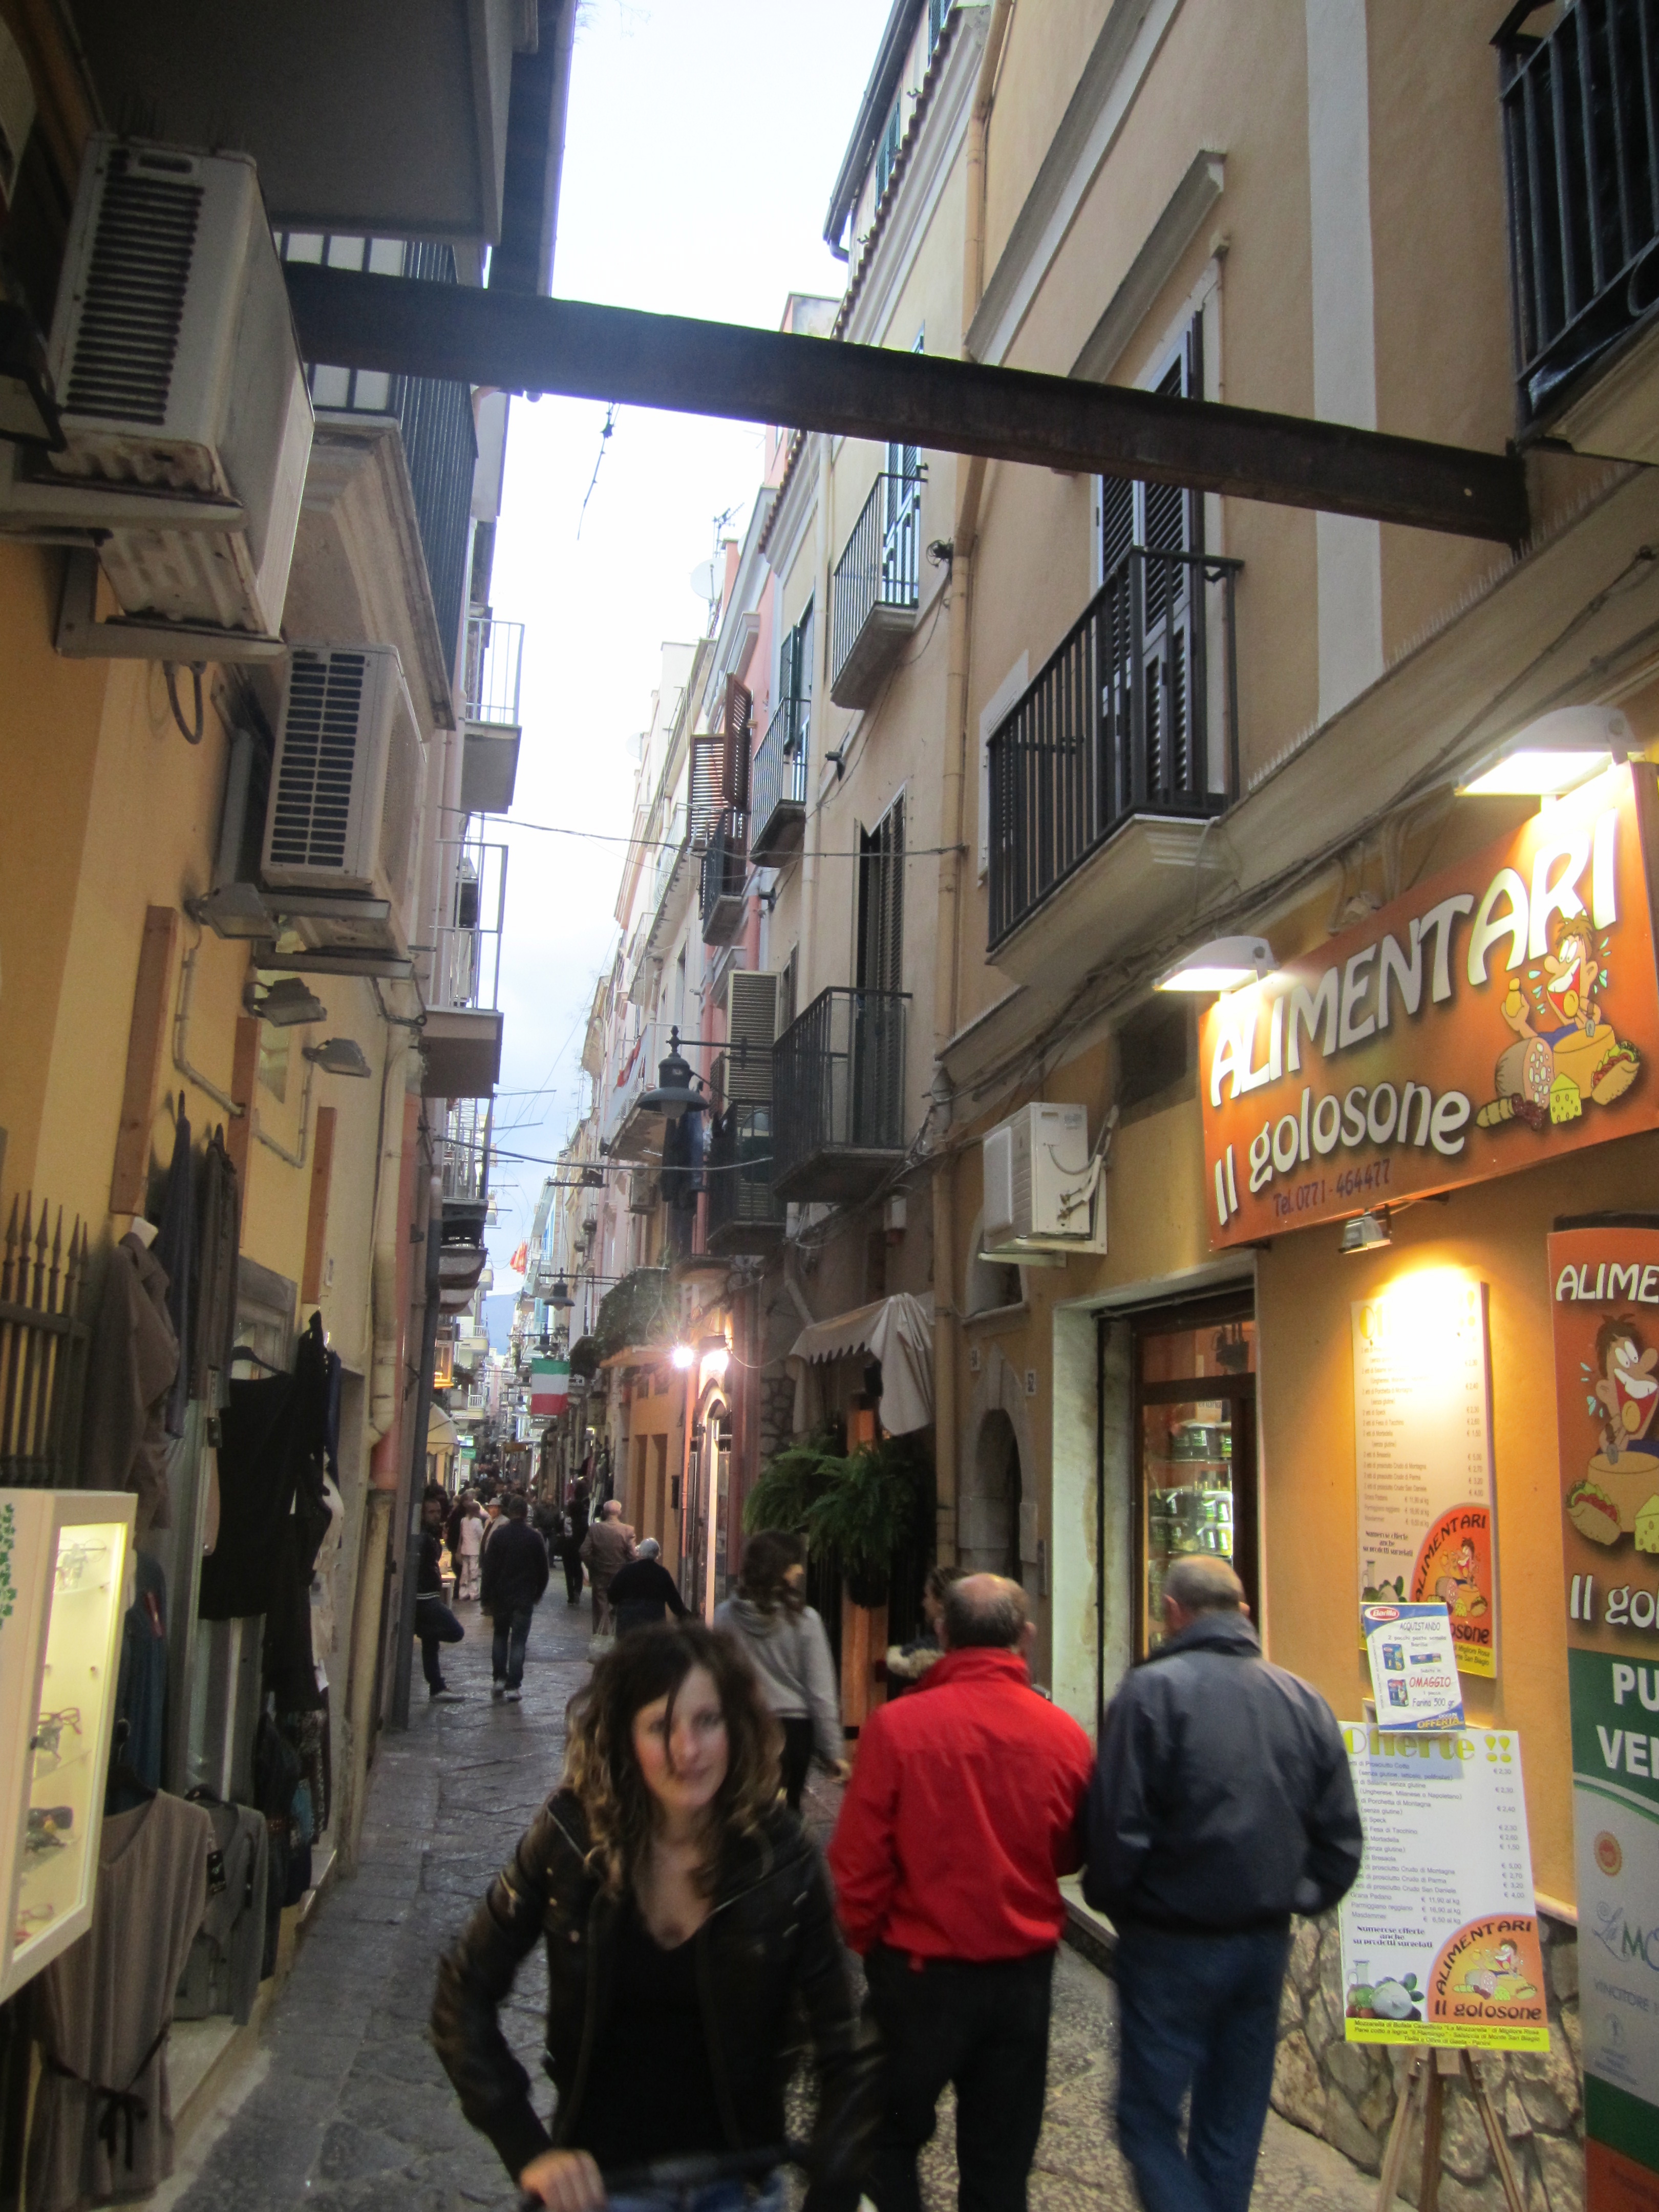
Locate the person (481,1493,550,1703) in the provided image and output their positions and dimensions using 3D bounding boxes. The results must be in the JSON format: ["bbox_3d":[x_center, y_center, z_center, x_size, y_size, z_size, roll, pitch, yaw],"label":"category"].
[{"bbox_3d":[-2.856,4.399,14.524,0.474,2.049,0.416,2,14,-16],"label":"person"}]

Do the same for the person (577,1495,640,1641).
[{"bbox_3d":[-2.215,4.666,16.228,0.366,1.709,0.386,6,24,3],"label":"person"}]

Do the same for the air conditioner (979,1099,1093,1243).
[{"bbox_3d":[1.005,0.547,7.742,0.379,0.926,0.857,2,-10,-10],"label":"air conditioner"}]

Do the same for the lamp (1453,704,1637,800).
[{"bbox_3d":[1.635,-0.799,3.671,0.250,0.138,0.345,6,-15,-16],"label":"lamp"}]
